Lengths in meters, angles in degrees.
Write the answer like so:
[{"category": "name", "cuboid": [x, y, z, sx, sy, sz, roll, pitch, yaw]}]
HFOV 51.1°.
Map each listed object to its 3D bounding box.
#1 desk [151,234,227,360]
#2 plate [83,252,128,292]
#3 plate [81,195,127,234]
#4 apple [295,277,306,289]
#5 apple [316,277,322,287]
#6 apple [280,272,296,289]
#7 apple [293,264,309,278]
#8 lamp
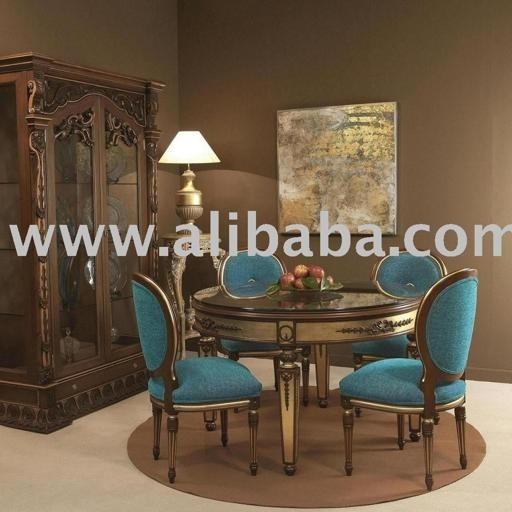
[{"category": "desk", "cuboid": [-0.443, 0.331, 4.227, 0.593, 0.900, 0.519, -3, -7, 0]}, {"category": "plate", "cuboid": [-0.942, 0.117, 3.519, 0.047, 0.207, 0.236, -9, -10, 38]}, {"category": "plate", "cuboid": [-0.972, -0.298, 3.552, 0.052, 0.202, 0.230, 0, 10, 38]}, {"category": "apple", "cuboid": [0.214, 0.133, 2.596, 0.052, 0.052, 0.047, 1, 0, -7]}, {"category": "apple", "cuboid": [0.307, 0.126, 2.602, 0.022, 0.041, 0.057, 0, 3, 13]}, {"category": "apple", "cuboid": [0.158, 0.127, 2.684, 0.079, 0.080, 0.074, 2, 2, 13]}, {"category": "apple", "cuboid": [0.225, 0.079, 2.678, 0.065, 0.057, 0.066, 9, 23, 40]}, {"category": "lamp", "cuboid": [-0.522, -0.598, 4.216, 0.567, 0.689, 0.499, -1, 2, 8]}]
